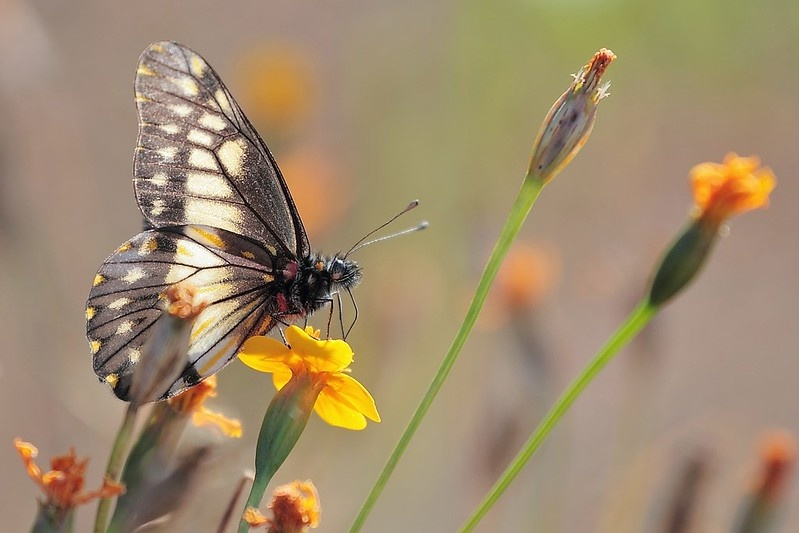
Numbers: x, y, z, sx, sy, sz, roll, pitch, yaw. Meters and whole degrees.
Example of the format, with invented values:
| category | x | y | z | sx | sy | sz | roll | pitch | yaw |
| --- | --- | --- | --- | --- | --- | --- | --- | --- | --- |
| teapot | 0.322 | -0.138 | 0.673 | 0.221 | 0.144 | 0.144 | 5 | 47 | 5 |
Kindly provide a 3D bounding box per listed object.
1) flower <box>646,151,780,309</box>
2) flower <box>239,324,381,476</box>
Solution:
| category | x | y | z | sx | sy | sz | roll | pitch | yaw |
| --- | --- | --- | --- | --- | --- | --- | --- | --- | --- |
| flower | 0.470 | -0.067 | 1.245 | 0.129 | 0.307 | 0.054 | 35 | -22 | 1 |
| flower | -0.109 | 0.180 | 1.274 | 0.195 | 0.065 | 0.225 | 51 | 0 | 45 |
